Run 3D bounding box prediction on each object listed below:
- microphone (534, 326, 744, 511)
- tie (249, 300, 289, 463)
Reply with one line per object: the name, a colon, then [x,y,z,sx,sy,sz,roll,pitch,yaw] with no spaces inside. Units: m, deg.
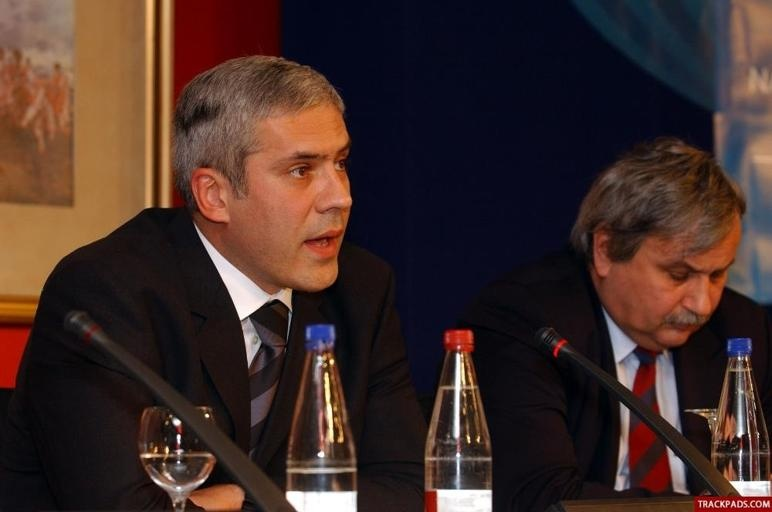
microphone: [0.675,0.457,2.354,0.133,0.094,1.075,-23,24,-6]
tie: [-0.331,0.329,2.292,0.077,0.433,0.062,16,-20,-3]
